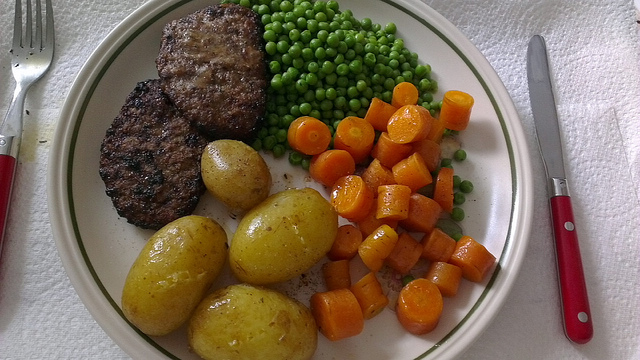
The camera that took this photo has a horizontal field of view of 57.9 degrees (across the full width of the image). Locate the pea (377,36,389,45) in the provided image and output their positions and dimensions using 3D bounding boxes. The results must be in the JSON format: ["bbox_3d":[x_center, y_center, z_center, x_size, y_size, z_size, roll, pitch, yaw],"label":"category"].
[{"bbox_3d":[0.409,-0.910,3.798,0.062,0.048,0.051,3,77,-4],"label":"pea"}]

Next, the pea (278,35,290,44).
[{"bbox_3d":[-0.235,-0.912,3.718,0.061,0.052,0.053,4,83,21],"label":"pea"}]

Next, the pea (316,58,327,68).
[{"bbox_3d":[0.001,-0.752,3.706,0.053,0.030,0.056,-2,79,4],"label":"pea"}]

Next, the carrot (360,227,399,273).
[{"bbox_3d":[0.350,0.402,3.607,0.195,0.116,0.306,44,62,1],"label":"carrot"}]

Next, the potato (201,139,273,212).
[{"bbox_3d":[-0.488,-0.105,3.686,0.490,0.372,0.696,-7,24,-8],"label":"potato"}]

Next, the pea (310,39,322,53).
[{"bbox_3d":[-0.032,-0.863,3.741,0.078,0.079,0.079,10,22,-9],"label":"pea"}]

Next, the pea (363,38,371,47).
[{"bbox_3d":[0.297,-0.899,3.766,0.049,0.027,0.051,-21,83,-16],"label":"pea"}]

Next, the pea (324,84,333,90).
[{"bbox_3d":[0.049,-0.601,3.728,0.049,0.016,0.040,-4,60,1],"label":"pea"}]

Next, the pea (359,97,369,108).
[{"bbox_3d":[0.283,-0.504,3.743,0.051,0.064,0.053,4,25,9],"label":"pea"}]

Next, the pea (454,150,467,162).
[{"bbox_3d":[0.913,-0.162,3.776,0.061,0.034,0.067,-2,93,4],"label":"pea"}]

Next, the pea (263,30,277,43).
[{"bbox_3d":[-0.324,-0.917,3.714,0.073,0.070,0.074,6,97,17],"label":"pea"}]

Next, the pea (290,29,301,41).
[{"bbox_3d":[-0.170,-0.923,3.718,0.057,0.061,0.062,-16,75,-21],"label":"pea"}]

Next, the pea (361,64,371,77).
[{"bbox_3d":[0.289,-0.709,3.762,0.065,0.061,0.066,11,62,8],"label":"pea"}]

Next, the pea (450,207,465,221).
[{"bbox_3d":[0.885,0.213,3.744,0.092,0.054,0.082,15,62,12],"label":"pea"}]

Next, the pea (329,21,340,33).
[{"bbox_3d":[0.082,-0.984,3.747,0.061,0.064,0.075,4,27,-10],"label":"pea"}]

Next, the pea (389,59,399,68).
[{"bbox_3d":[0.476,-0.757,3.771,0.049,0.051,0.047,-24,47,22],"label":"pea"}]

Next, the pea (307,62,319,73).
[{"bbox_3d":[-0.048,-0.717,3.681,0.058,0.054,0.058,-25,57,-21],"label":"pea"}]

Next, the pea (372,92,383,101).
[{"bbox_3d":[0.377,-0.546,3.773,0.035,0.025,0.046,-6,66,-9],"label":"pea"}]

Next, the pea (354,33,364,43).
[{"bbox_3d":[0.247,-0.913,3.728,0.053,0.055,0.069,-1,86,9],"label":"pea"}]

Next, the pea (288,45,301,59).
[{"bbox_3d":[-0.163,-0.815,3.676,0.070,0.066,0.072,31,99,18],"label":"pea"}]

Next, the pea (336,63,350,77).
[{"bbox_3d":[0.141,-0.706,3.705,0.075,0.077,0.076,3,29,24],"label":"pea"}]

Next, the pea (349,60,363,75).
[{"bbox_3d":[0.227,-0.728,3.716,0.084,0.068,0.073,3,60,5],"label":"pea"}]

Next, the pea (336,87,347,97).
[{"bbox_3d":[0.133,-0.572,3.731,0.054,0.054,0.057,1,84,-5],"label":"pea"}]

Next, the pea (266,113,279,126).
[{"bbox_3d":[-0.305,-0.394,3.735,0.068,0.070,0.069,32,31,17],"label":"pea"}]

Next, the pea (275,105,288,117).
[{"bbox_3d":[-0.253,-0.446,3.805,0.065,0.081,0.067,23,27,4],"label":"pea"}]

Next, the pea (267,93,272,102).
[{"bbox_3d":[-0.332,-0.536,3.755,0.032,0.022,0.040,3,90,0],"label":"pea"}]

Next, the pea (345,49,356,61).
[{"bbox_3d":[0.191,-0.803,3.720,0.060,0.061,0.061,8,102,15],"label":"pea"}]

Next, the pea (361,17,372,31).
[{"bbox_3d":[0.305,-1.039,3.849,0.071,0.048,0.087,1,60,4],"label":"pea"}]

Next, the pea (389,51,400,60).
[{"bbox_3d":[0.480,-0.810,3.780,0.054,0.074,0.056,-13,70,12],"label":"pea"}]

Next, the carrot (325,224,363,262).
[{"bbox_3d":[0.152,0.392,3.614,0.181,0.059,0.244,42,81,3],"label":"carrot"}]

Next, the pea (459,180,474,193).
[{"bbox_3d":[0.944,0.037,3.760,0.089,0.057,0.066,0,60,4],"label":"pea"}]

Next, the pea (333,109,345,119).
[{"bbox_3d":[0.114,-0.427,3.764,0.059,0.072,0.059,4,66,-12],"label":"pea"}]

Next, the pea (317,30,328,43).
[{"bbox_3d":[0.016,-0.916,3.687,0.061,0.059,0.071,-15,66,5],"label":"pea"}]

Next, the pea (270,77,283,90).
[{"bbox_3d":[-0.280,-0.625,3.748,0.071,0.081,0.066,-25,53,-33],"label":"pea"}]

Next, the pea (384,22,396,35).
[{"bbox_3d":[0.463,-1.011,3.859,0.070,0.070,0.069,12,59,18],"label":"pea"}]

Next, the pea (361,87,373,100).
[{"bbox_3d":[0.304,-0.560,3.742,0.056,0.059,0.078,-3,40,1],"label":"pea"}]

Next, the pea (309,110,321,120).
[{"bbox_3d":[-0.037,-0.429,3.739,0.059,0.072,0.058,7,27,2],"label":"pea"}]

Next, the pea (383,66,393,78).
[{"bbox_3d":[0.442,-0.701,3.767,0.057,0.059,0.069,3,107,9],"label":"pea"}]

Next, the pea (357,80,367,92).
[{"bbox_3d":[0.264,-0.605,3.758,0.056,0.058,0.060,18,34,-23],"label":"pea"}]

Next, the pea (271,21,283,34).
[{"bbox_3d":[-0.274,-0.976,3.758,0.068,0.071,0.083,-22,34,-3],"label":"pea"}]

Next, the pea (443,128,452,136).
[{"bbox_3d":[0.832,-0.317,3.809,0.036,0.014,0.048,-3,81,-4],"label":"pea"}]

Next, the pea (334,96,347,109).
[{"bbox_3d":[0.126,-0.501,3.724,0.071,0.072,0.069,1,32,3],"label":"pea"}]

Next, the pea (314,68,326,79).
[{"bbox_3d":[-0.009,-0.678,3.684,0.047,0.032,0.058,-34,101,10],"label":"pea"}]

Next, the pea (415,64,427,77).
[{"bbox_3d":[0.657,-0.720,3.803,0.057,0.062,0.064,-12,75,25],"label":"pea"}]

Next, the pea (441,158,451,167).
[{"bbox_3d":[0.817,-0.115,3.779,0.062,0.030,0.056,2,61,5],"label":"pea"}]

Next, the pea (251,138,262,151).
[{"bbox_3d":[-0.407,-0.233,3.777,0.070,0.077,0.068,-34,27,-33],"label":"pea"}]

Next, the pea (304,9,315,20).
[{"bbox_3d":[-0.072,-1.068,3.740,0.063,0.033,0.067,0,60,3],"label":"pea"}]

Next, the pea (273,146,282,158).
[{"bbox_3d":[-0.268,-0.184,3.715,0.049,0.034,0.061,-16,90,-5],"label":"pea"}]

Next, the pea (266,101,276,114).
[{"bbox_3d":[-0.319,-0.471,3.751,0.062,0.031,0.065,-5,83,-9],"label":"pea"}]

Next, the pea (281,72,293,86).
[{"bbox_3d":[-0.211,-0.644,3.688,0.069,0.069,0.085,3,105,-2],"label":"pea"}]
